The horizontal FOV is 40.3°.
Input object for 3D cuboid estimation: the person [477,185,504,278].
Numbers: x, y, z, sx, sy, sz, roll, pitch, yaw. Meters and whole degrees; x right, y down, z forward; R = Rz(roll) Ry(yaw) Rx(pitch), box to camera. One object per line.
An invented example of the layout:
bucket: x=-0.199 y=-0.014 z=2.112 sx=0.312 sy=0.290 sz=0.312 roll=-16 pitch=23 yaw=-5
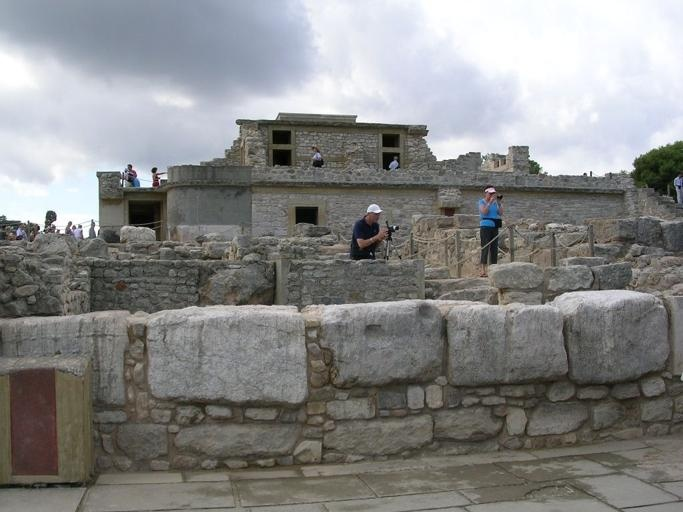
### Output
person: x=1.985 y=-0.313 z=12.421 sx=0.301 sy=1.196 sz=0.824 roll=-1 pitch=1 yaw=8

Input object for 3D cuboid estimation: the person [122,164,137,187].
person: x=-5.940 y=-2.240 z=26.155 sx=0.411 sy=0.630 sz=0.723 roll=-2 pitch=1 yaw=-7

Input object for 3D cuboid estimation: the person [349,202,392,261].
person: x=0.446 y=-0.394 z=15.273 sx=0.713 sy=0.591 sz=1.324 roll=-1 pitch=-27 yaw=6
